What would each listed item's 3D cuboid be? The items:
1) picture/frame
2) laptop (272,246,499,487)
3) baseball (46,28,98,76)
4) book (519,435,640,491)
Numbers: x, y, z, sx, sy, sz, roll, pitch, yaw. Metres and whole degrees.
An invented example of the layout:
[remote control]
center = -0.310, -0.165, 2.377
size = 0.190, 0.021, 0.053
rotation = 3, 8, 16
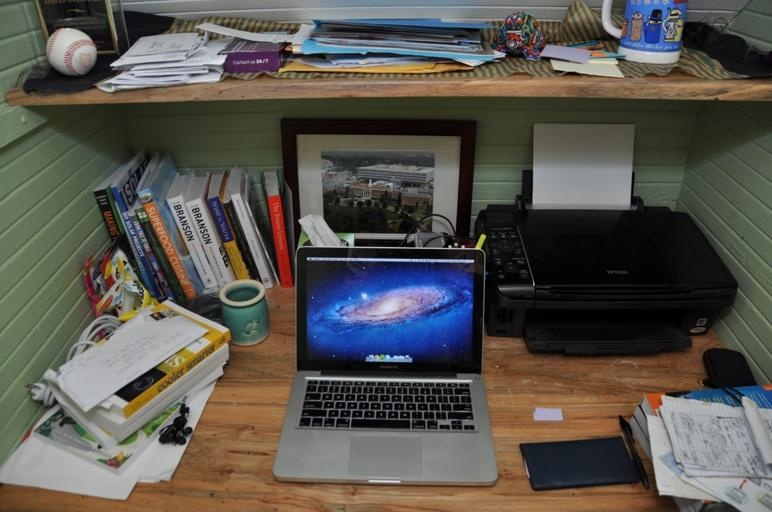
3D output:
[picture/frame]
center = -0.025, -0.226, 1.592
size = 0.596, 0.352, 0.023
rotation = 2, 28, 2
[laptop]
center = 0.016, 0.346, 1.390
size = 0.686, 0.373, 0.539
rotation = 1, 41, 2
[baseball]
center = -0.788, -0.515, 1.269
size = 0.143, 0.116, 0.075
rotation = -6, 14, -20
[book]
center = 0.463, 0.498, 1.196
size = 0.259, 0.032, 0.106
rotation = -3, 35, -2
